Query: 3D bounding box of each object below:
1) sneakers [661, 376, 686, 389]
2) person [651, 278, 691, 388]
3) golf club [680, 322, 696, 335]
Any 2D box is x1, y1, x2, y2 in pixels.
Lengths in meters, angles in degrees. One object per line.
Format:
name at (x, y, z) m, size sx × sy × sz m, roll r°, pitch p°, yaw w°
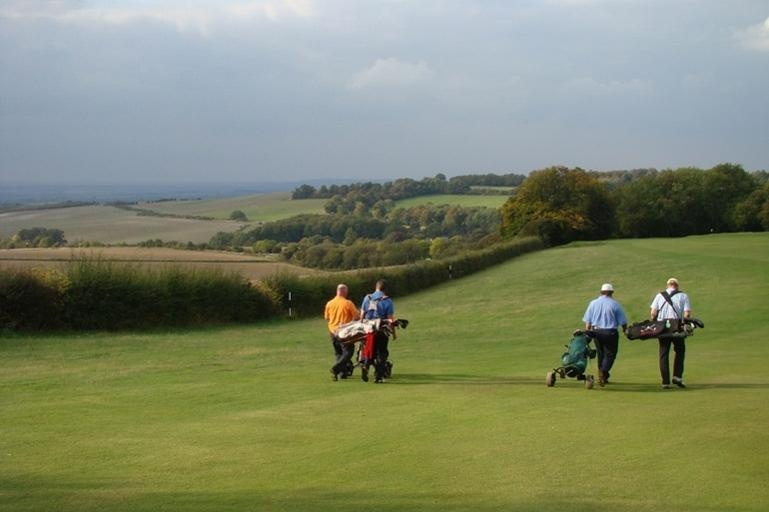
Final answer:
sneakers at (7.600, 3.392, 25.584) m, size 0.699 × 0.270 × 0.247 m, roll -2°, pitch 3°, yaw -24°
person at (7.667, 2.071, 26.111) m, size 0.934 × 2.884 × 1.473 m, roll 1°, pitch 1°, yaw 15°
golf club at (7.917, 1.949, 25.525) m, size 0.310 × 0.388 × 0.153 m, roll 0°, pitch -25°, yaw -2°
